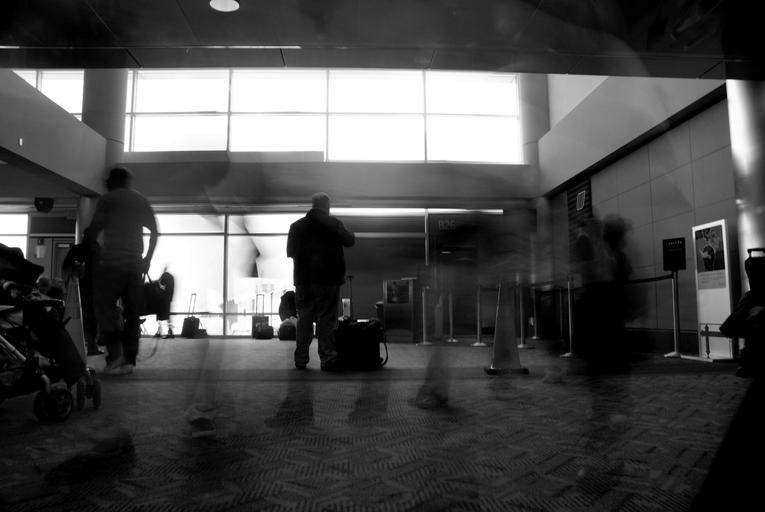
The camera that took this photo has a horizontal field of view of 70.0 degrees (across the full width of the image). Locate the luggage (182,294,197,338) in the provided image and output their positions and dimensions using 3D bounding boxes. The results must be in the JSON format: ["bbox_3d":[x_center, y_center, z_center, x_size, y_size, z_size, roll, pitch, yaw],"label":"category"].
[{"bbox_3d":[-0.810,0.256,2.317,0.071,0.200,0.062,1,-21,-23],"label":"luggage"}]

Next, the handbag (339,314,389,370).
[{"bbox_3d":[-0.208,0.693,4.415,0.415,0.370,0.228,3,-1,-38],"label":"handbag"}]

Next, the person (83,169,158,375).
[{"bbox_3d":[-1.190,0.111,2.519,0.257,1.009,0.511,-3,6,-36],"label":"person"}]

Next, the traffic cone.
[{"bbox_3d":[0.934,0.555,4.186,0.360,0.638,0.340,2,-6,0],"label":"traffic cone"}]

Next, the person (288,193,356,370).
[{"bbox_3d":[-0.474,0.248,3.988,0.407,1.325,1.037,0,5,-10],"label":"person"}]
